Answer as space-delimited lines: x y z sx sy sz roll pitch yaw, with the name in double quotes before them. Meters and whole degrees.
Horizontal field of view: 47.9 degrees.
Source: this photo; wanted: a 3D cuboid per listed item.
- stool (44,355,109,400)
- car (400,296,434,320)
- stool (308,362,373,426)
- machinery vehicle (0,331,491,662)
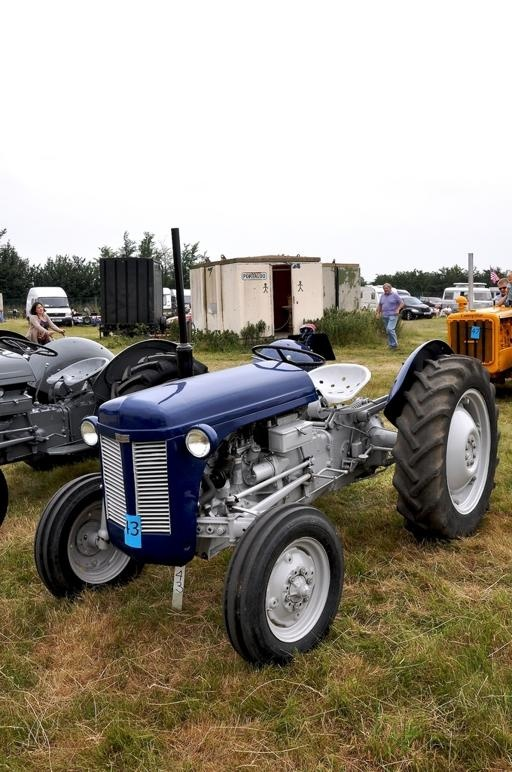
"stool" -1.549 -0.088 4.966 0.427 0.222 0.489 12 28 42
"car" 7.940 -3.826 28.194 1.475 1.135 2.310 -2 6 15
"stool" 0.489 0.007 3.542 0.318 0.173 0.378 12 28 37
"machinery vehicle" 0.184 0.367 2.738 1.248 0.953 1.997 1 4 39
